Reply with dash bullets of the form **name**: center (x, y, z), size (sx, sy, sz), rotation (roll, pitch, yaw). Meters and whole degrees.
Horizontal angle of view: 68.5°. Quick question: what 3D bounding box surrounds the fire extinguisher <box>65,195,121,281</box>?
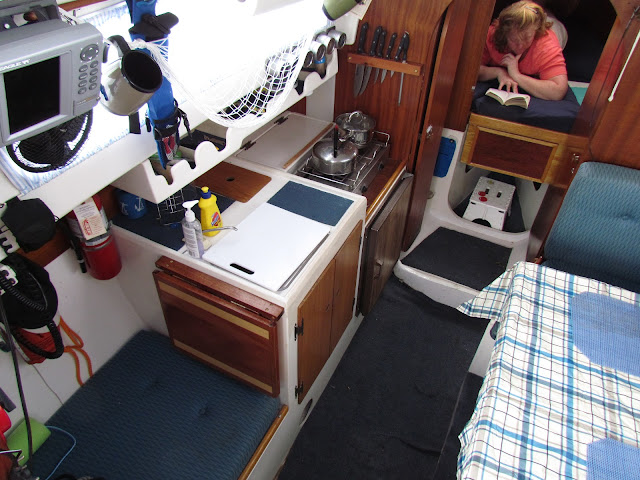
- **fire extinguisher**: center (-0.860, -0.006, 1.812), size (0.117, 0.405, 0.122), rotation (-29, 44, -34)

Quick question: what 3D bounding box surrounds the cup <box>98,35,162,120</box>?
- **cup**: center (-0.493, -0.404, 1.216), size (0.167, 0.226, 0.112), rotation (-2, 40, -7)

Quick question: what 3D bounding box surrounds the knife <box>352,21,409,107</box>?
- **knife**: center (0.302, -0.888, 2.318), size (0.366, 0.516, 0.055), rotation (14, 57, 19)

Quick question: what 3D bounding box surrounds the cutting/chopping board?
- **cutting/chopping board**: center (-0.220, 0.050, 1.862), size (0.314, 0.050, 0.350), rotation (24, 56, 17)

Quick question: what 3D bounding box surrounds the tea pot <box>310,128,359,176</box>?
- **tea pot**: center (0.088, -0.408, 2.268), size (0.228, 0.123, 0.180), rotation (-13, 39, -23)

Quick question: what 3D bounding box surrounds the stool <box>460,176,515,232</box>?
- **stool**: center (1.224, -0.255, 3.440), size (0.284, 0.180, 0.410), rotation (20, 45, 18)

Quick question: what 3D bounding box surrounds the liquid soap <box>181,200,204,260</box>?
- **liquid soap**: center (-0.484, -0.029, 1.778), size (0.072, 0.257, 0.080), rotation (31, 51, 17)

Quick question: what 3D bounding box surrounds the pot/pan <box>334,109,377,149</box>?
- **pot/pan**: center (0.199, -0.590, 2.442), size (0.163, 0.160, 0.170), rotation (-9, 39, -11)
